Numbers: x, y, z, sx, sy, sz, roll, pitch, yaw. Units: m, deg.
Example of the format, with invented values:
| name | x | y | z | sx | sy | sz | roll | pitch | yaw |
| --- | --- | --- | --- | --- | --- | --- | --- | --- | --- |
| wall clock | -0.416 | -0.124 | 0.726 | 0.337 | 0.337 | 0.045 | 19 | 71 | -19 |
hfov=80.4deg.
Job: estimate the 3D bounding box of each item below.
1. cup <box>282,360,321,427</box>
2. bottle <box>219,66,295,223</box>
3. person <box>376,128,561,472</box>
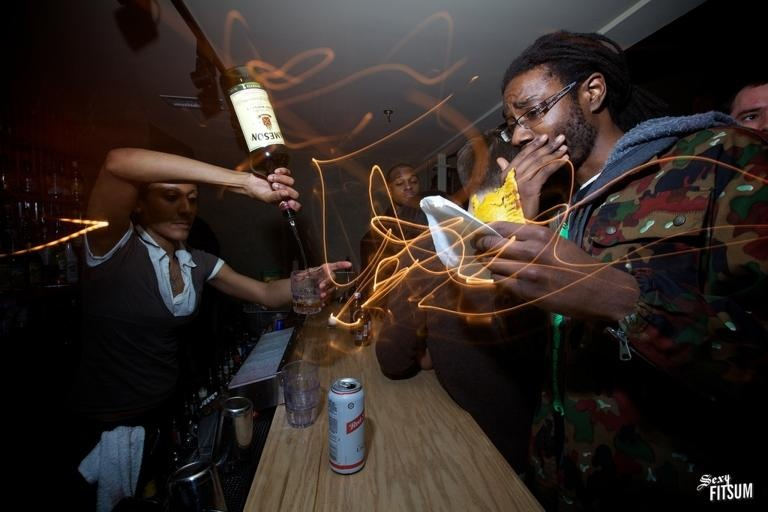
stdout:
| name | x | y | z | sx | sy | sz | roll | pitch | yaw |
| --- | --- | --- | --- | --- | --- | --- | --- | --- | --- |
| cup | -0.490 | 0.812 | 2.672 | 0.236 | 0.352 | 0.177 | 5 | 11 | -8 |
| bottle | -0.773 | -0.778 | 2.675 | 0.438 | 0.605 | 0.290 | 6 | 11 | -7 |
| person | 0.679 | 0.338 | 3.278 | 1.351 | 1.797 | 0.539 | -16 | -2 | 27 |
